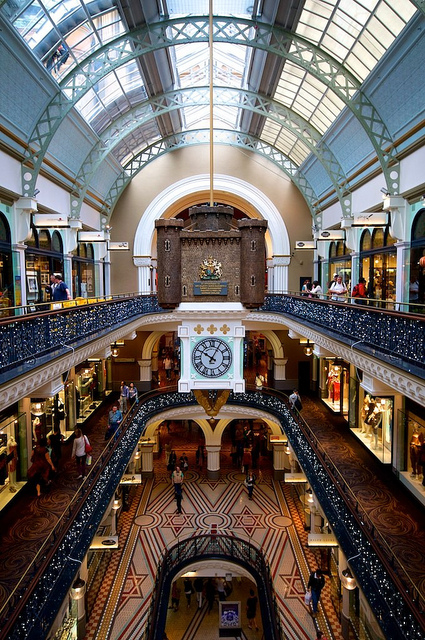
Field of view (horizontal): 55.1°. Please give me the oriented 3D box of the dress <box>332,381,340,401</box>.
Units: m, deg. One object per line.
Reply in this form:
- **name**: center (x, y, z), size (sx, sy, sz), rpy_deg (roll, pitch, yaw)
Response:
- **dress**: center (6.155, 3.581, 20.344), size (0.224, 1.020, 0.892), rpy_deg (2, 2, 5)

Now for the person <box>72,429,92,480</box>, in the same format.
- **person**: center (-3.533, 3.551, 10.872), size (0.473, 1.352, 0.357), rpy_deg (-4, 8, -35)

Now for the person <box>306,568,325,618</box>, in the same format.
- **person**: center (3.295, 8.468, 13.055), size (0.438, 1.519, 1.621), rpy_deg (2, 2, 17)

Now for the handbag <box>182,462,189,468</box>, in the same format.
- **handbag**: center (-1.489, 7.828, 21.823), size (0.295, 0.128, 0.445), rpy_deg (1, -11, -7)

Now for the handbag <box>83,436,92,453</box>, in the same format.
- **handbag**: center (-3.332, 3.333, 10.816), size (0.135, 0.552, 0.490), rpy_deg (1, 2, -12)

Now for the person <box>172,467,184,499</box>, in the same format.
- **person**: center (-1.625, 7.524, 18.574), size (0.402, 1.487, 0.818), rpy_deg (2, 2, -5)

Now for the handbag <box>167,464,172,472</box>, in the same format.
- **handbag**: center (-2.430, 8.248, 22.640), size (0.276, 0.561, 0.518), rpy_deg (3, -10, -11)

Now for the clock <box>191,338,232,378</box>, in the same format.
- **clock**: center (-0.079, 1.121, 12.371), size (0.893, 1.021, 0.100), rpy_deg (-12, 2, -6)

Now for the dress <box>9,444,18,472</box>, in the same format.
- **dress**: center (-5.117, 3.510, 10.392), size (0.098, 0.704, 0.536), rpy_deg (1, 2, -17)

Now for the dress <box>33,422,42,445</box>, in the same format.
- **dress**: center (-5.210, 3.394, 12.168), size (0.085, 0.602, 0.591), rpy_deg (1, 2, -10)

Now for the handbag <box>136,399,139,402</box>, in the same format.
- **handbag**: center (-3.357, 3.604, 18.085), size (0.090, 0.160, 0.099), rpy_deg (0, 6, -4)

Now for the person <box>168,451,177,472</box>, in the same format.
- **person**: center (-2.179, 7.779, 22.344), size (0.428, 0.973, 0.727), rpy_deg (2, 2, -6)

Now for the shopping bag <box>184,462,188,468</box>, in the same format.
- **shopping bag**: center (-1.444, 7.784, 21.752), size (0.193, 0.273, 0.284), rpy_deg (-1, -6, 5)

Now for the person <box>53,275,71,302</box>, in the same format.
- **person**: center (-3.285, -0.699, 8.814), size (0.323, 0.566, 0.917), rpy_deg (1, 3, -21)

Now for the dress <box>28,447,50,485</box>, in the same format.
- **dress**: center (-4.507, 3.797, 10.516), size (0.488, 1.131, 0.691), rpy_deg (1, 2, -25)

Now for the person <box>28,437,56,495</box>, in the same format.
- **person**: center (-4.522, 3.903, 10.709), size (0.572, 1.214, 0.676), rpy_deg (15, 34, 7)

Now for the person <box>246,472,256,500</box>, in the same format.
- **person**: center (1.819, 8.022, 19.951), size (0.374, 1.453, 1.420), rpy_deg (2, 2, 6)
